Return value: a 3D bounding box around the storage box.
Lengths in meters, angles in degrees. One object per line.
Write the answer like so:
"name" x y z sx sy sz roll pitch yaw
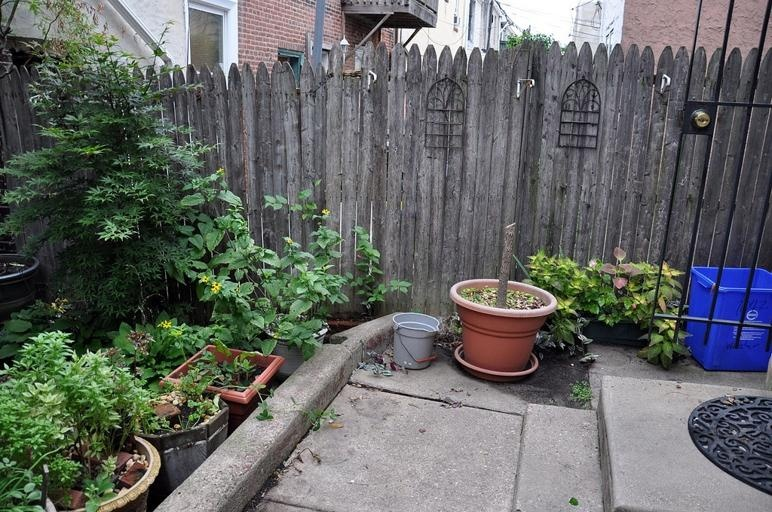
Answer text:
"storage box" 3.140 0.567 4.582 0.687 0.838 0.690 7 19 16

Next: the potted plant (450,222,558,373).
"potted plant" 1.075 0.372 4.532 0.916 1.312 0.702 8 20 20

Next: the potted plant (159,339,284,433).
"potted plant" -1.118 1.044 3.847 0.441 0.421 0.300 -15 29 -12

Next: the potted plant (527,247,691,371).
"potted plant" 2.164 0.411 5.053 1.557 1.082 1.045 2 6 7

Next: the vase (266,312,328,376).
"vase" -0.769 0.806 4.462 0.465 0.353 0.469 -1 6 -15

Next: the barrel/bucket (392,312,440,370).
"barrel/bucket" 0.231 0.755 4.717 0.465 0.360 0.475 5 12 -1
